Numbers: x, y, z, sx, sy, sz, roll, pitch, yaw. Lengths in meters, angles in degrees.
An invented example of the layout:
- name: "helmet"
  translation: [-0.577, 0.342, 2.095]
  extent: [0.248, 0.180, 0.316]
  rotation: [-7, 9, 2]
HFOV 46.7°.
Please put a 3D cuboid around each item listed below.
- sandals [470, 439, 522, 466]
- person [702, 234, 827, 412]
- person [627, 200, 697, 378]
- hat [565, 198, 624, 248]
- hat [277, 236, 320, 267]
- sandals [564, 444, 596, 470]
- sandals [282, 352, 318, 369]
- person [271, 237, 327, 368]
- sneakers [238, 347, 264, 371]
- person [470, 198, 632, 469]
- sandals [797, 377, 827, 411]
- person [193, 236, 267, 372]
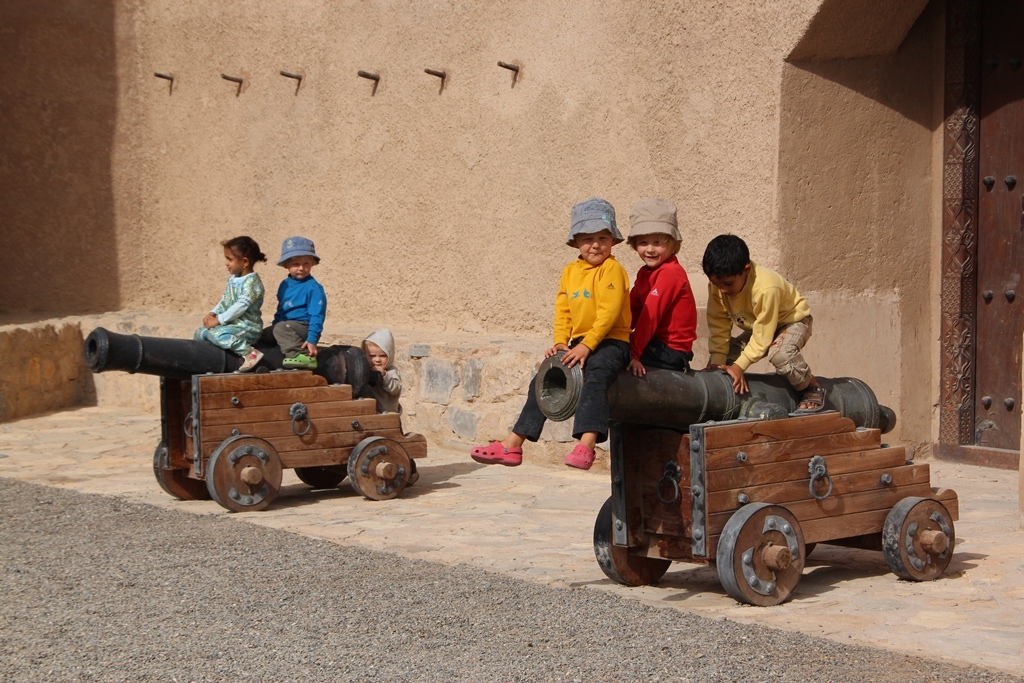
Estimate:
- name: "sandals"
  translation: [-0.082, 0.656, 6.864]
  extent: [0.347, 0.150, 0.127]
  rotation: [6, 5, -2]
- name: "person"
  translation: [1.518, -0.107, 7.159]
  extent: [0.819, 1.068, 0.509]
  rotation: [4, 0, -3]
- name: "person"
  translation: [0.879, -0.345, 6.981]
  extent: [0.430, 1.026, 0.429]
  rotation: [4, 0, 4]
- name: "hat"
  translation: [0.461, -0.747, 7.129]
  extent: [0.306, 0.208, 0.365]
  rotation: [0, -5, -25]
- name: "hat"
  translation: [-1.803, -0.722, 9.742]
  extent: [0.271, 0.145, 0.267]
  rotation: [-10, -7, 32]
- name: "sandals"
  translation: [0.401, 0.627, 6.635]
  extent: [0.121, 0.100, 0.257]
  rotation: [6, 10, 17]
- name: "sandals"
  translation: [-1.666, 0.149, 9.385]
  extent: [0.275, 0.127, 0.110]
  rotation: [2, 0, 2]
- name: "person"
  translation: [-1.733, -0.329, 9.599]
  extent: [0.416, 1.028, 0.605]
  rotation: [4, 0, -11]
- name: "sneakers"
  translation: [-2.059, 0.140, 9.273]
  extent: [0.152, 0.177, 0.237]
  rotation: [4, 0, 19]
- name: "person"
  translation: [0.323, -0.064, 6.869]
  extent: [0.733, 1.568, 0.837]
  rotation: [4, 0, 5]
- name: "sandals"
  translation: [1.809, 0.321, 7.156]
  extent: [0.193, 0.251, 0.647]
  rotation: [-2, -1, 13]
- name: "person"
  translation: [-2.228, -0.319, 9.439]
  extent: [0.514, 1.022, 0.608]
  rotation: [4, 0, -14]
